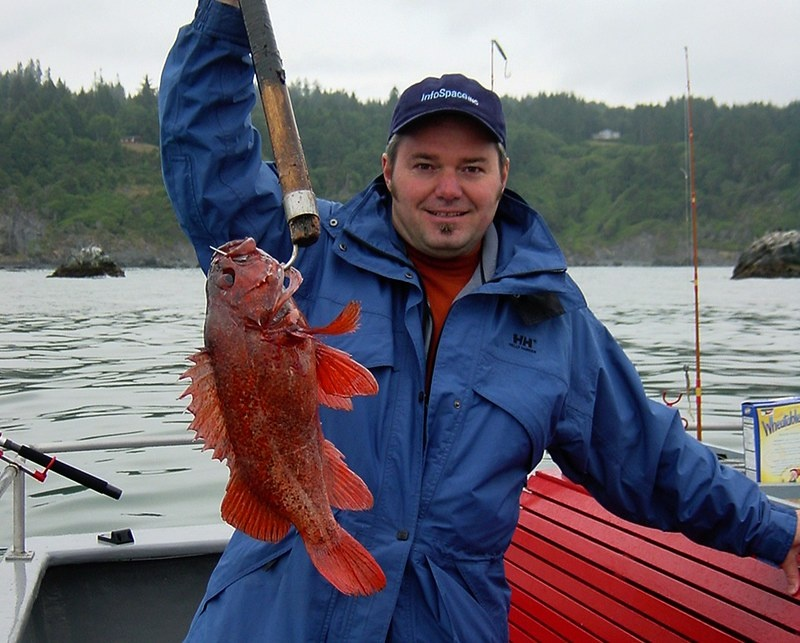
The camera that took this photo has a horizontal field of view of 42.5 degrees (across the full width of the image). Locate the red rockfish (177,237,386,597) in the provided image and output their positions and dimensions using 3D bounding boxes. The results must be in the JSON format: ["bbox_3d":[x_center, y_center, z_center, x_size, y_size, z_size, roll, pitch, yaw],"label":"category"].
[{"bbox_3d":[-0.600,0.394,4.806,0.931,1.610,1.247,-2,5,-27],"label":"red rockfish"}]
